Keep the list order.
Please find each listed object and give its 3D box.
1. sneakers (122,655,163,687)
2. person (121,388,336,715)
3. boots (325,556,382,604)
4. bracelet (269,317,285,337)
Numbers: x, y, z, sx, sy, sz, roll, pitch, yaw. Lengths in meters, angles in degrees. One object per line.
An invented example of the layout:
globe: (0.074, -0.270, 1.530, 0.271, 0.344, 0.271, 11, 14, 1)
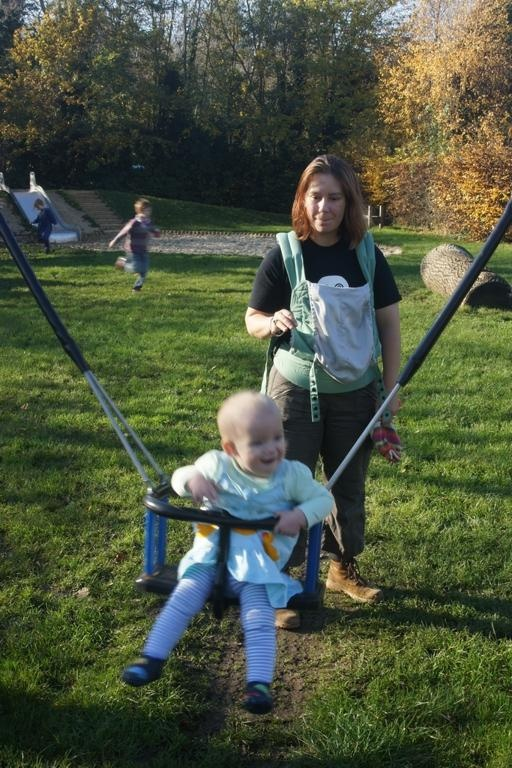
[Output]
sneakers: (-0.358, 0.912, 2.797, 0.126, 0.112, 0.093, 0, 14, -16)
person: (-0.054, 0.629, 3.051, 0.578, 1.158, 0.750, 5, 13, 5)
boots: (0.480, 0.888, 4.084, 0.334, 0.190, 0.123, 6, 10, 33)
bracelet: (0.074, -0.216, 3.467, 0.035, 0.066, 0.054, -16, 5, 19)
